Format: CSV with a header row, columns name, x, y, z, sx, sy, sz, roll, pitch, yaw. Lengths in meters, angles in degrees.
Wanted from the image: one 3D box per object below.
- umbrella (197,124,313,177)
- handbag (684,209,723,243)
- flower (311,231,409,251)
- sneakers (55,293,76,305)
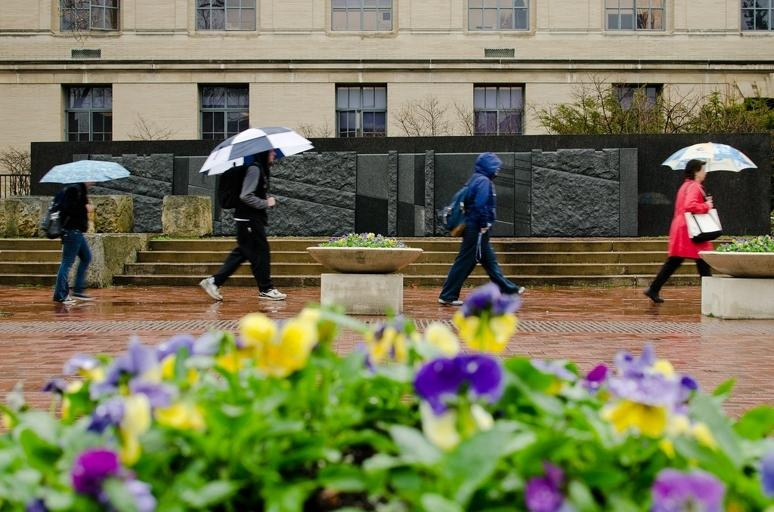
name,x,y,z,sx,sy,sz,roll,pitch,yaw
umbrella,-3.472,-3.004,27.234,1.868,0.679,1.786,-17,1,-41
handbag,8.331,-0.818,26.908,0.910,0.850,0.470,-8,-2,-5
flower,-0.652,-0.412,26.446,2.027,0.276,1.364,-1,8,-5
sneakers,-8.740,1.193,27.508,0.621,0.288,0.231,7,-13,24
